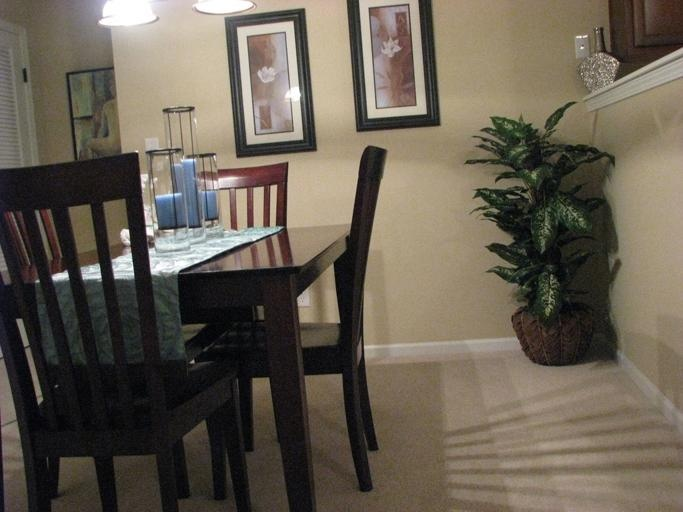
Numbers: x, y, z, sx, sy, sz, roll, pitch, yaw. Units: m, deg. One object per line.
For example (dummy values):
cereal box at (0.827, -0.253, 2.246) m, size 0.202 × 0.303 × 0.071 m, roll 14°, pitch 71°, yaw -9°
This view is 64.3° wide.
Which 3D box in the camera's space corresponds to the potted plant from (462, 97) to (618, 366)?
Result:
potted plant at (1.097, -0.109, 3.059) m, size 0.743 × 1.427 × 0.765 m, roll 4°, pitch 13°, yaw 30°
